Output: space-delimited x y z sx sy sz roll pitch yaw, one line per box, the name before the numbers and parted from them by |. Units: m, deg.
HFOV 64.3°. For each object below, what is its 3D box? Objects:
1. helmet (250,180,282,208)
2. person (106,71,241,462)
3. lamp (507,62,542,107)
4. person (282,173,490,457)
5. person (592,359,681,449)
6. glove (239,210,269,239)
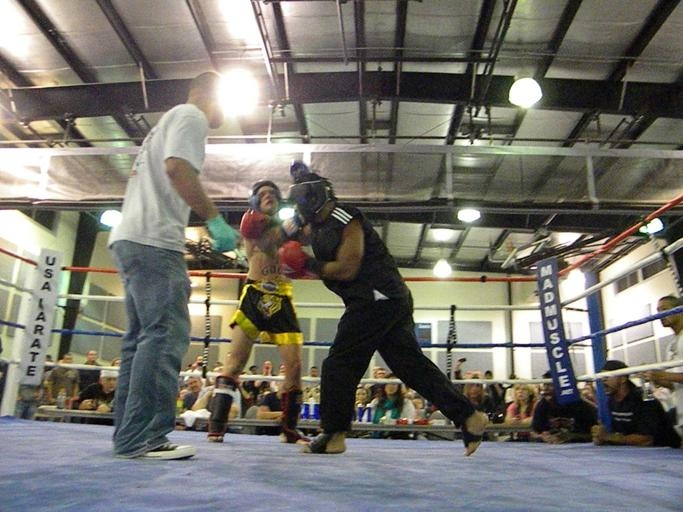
helmet | -0.456 -0.386 3.271 0.192 0.204 0.144 2 -21 -6
person | -0.788 -0.018 2.501 0.535 1.826 0.645 9 -24 -19
lamp | 2.038 -1.930 6.120 0.365 0.606 0.501 -7 -21 17
person | 0.187 0.240 2.842 1.020 1.544 0.423 4 -24 -10
person | 1.991 1.006 3.753 0.504 0.558 0.478 -9 -22 23
glove | -0.534 -0.191 3.302 0.135 0.151 0.175 14 -23 -33
